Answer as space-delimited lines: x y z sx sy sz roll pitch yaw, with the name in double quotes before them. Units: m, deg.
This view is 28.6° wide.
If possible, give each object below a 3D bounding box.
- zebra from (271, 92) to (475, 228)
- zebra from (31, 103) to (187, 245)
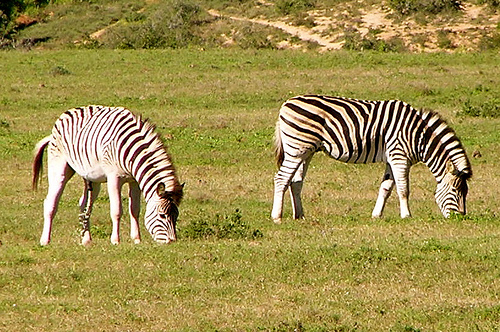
"zebra" 5.453 -0.555 43.945 8.183 5.531 5.648 0 7 6
"zebra" -5.700 0.357 40.493 6.391 5.636 3.226 5 9 38
